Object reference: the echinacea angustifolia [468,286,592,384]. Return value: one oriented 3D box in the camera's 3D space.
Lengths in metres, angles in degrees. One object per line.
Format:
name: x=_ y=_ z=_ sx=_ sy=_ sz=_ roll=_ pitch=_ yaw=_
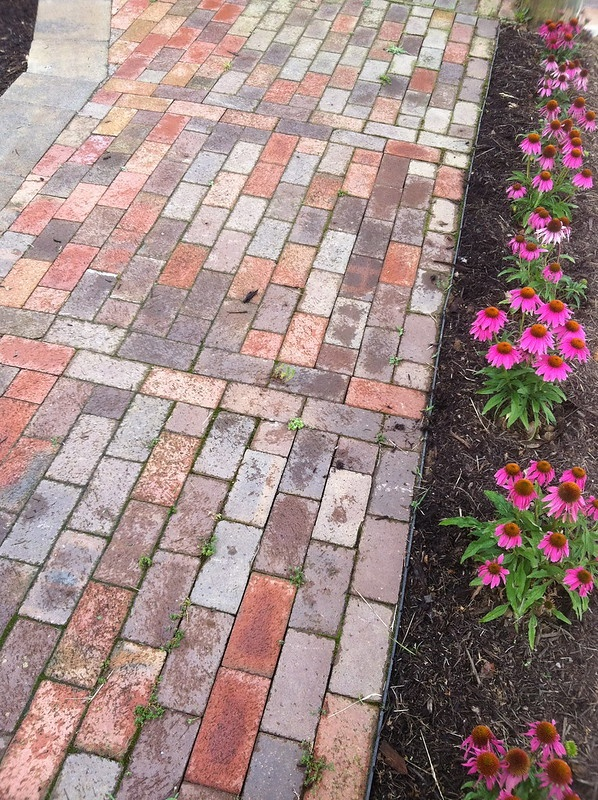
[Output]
echinacea angustifolia: x=1.028 y=-0.288 z=3.274 sx=0.507 sy=0.216 sz=0.530 roll=-7 pitch=68 yaw=6
